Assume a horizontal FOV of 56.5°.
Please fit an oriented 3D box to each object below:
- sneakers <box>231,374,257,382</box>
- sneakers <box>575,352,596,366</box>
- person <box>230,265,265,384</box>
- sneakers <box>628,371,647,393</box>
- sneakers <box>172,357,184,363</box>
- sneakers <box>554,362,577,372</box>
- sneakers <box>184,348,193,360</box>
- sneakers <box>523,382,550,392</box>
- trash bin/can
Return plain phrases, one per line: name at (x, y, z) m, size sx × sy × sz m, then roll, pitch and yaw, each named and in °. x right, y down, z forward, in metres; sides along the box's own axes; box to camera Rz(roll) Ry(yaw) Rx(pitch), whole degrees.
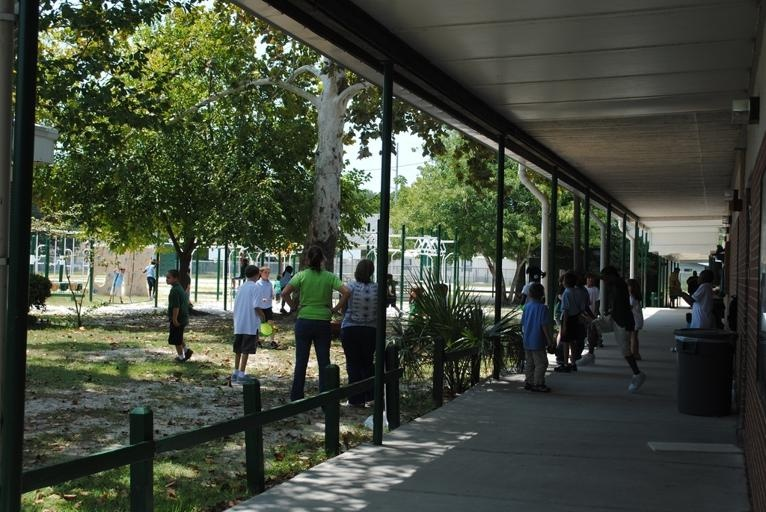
sneakers at (-2.638, 2.319, 13.425) m, size 0.506 × 0.215 × 0.188 m, roll 0°, pitch -4°, yaw -2°
sneakers at (4.346, 2.209, 15.055) m, size 0.461 × 0.303 × 0.231 m, roll 0°, pitch -4°, yaw -3°
person at (-2.522, 1.275, 13.233) m, size 0.578 × 2.186 × 0.782 m, roll 0°, pitch -3°, yaw -13°
sneakers at (4.579, 2.279, 12.761) m, size 0.139 × 0.343 × 0.114 m, roll 14°, pitch 21°, yaw -10°
sneakers at (-4.440, 2.264, 15.447) m, size 0.236 × 0.110 × 0.089 m, roll -7°, pitch -9°, yaw 38°
sneakers at (3.802, 2.313, 14.639) m, size 0.504 × 0.208 × 0.187 m, roll 6°, pitch -10°, yaw -11°
sneakers at (-4.199, 2.126, 15.428) m, size 0.123 × 0.325 × 0.140 m, roll 6°, pitch 18°, yaw -31°
sneakers at (2.660, 2.272, 12.270) m, size 0.433 × 0.192 × 0.166 m, roll 0°, pitch -3°, yaw 2°
trash bin/can at (5.031, 1.743, 11.364) m, size 1.184 × 1.492 × 1.159 m, roll 1°, pitch 2°, yaw 21°
